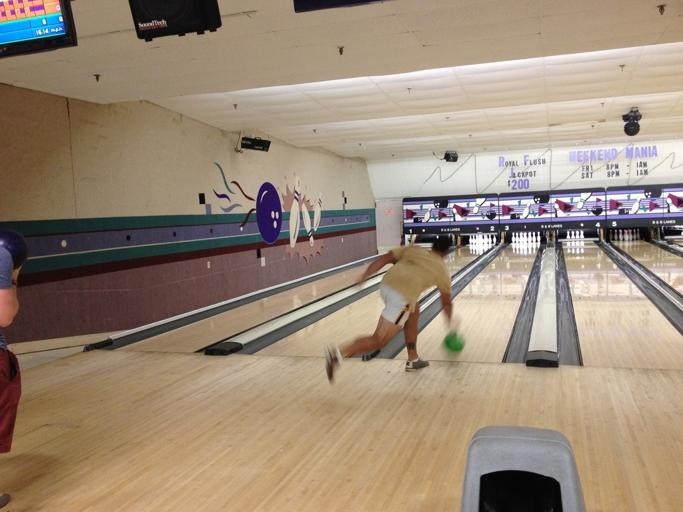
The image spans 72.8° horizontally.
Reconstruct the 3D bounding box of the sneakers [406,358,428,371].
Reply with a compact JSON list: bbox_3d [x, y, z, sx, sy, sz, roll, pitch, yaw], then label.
[{"bbox_3d":[0.542,0.784,3.328,0.066,0.070,0.172,2,3,43],"label":"sneakers"}]

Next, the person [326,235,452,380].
[{"bbox_3d":[0.423,0.244,3.530,1.165,1.009,0.594,-5,16,-42],"label":"person"}]

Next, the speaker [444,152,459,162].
[{"bbox_3d":[2.578,-2.334,10.833,0.262,0.222,0.597,1,9,20],"label":"speaker"}]

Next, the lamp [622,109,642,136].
[{"bbox_3d":[4.214,-1.952,6.694,0.231,0.336,0.458,4,11,35],"label":"lamp"}]

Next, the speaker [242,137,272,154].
[{"bbox_3d":[-1.275,-1.662,6.773,0.187,0.190,0.543,6,12,42],"label":"speaker"}]

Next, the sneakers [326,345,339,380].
[{"bbox_3d":[-0.051,0.668,2.882,0.069,0.241,0.101,1,-24,6],"label":"sneakers"}]
